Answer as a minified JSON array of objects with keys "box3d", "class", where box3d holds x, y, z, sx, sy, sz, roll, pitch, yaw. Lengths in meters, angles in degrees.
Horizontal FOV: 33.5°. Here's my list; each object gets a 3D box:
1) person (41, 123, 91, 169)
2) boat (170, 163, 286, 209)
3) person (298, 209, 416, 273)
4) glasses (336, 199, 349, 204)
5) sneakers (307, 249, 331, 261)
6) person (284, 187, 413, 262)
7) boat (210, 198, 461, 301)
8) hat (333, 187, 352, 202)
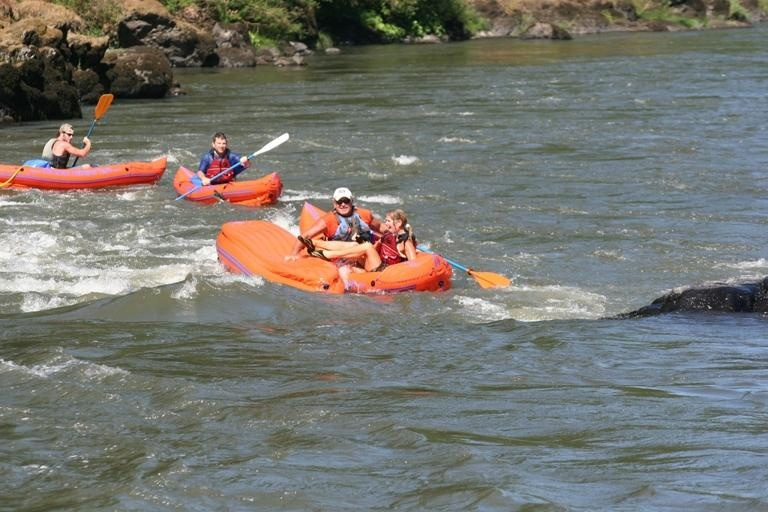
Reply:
[{"box3d":[-6.266,-2.125,25.325,0.946,0.883,0.849,-4,33,-14],"class":"person"},{"box3d":[-2.993,-1.261,24.317,1.900,0.455,0.808,2,5,18],"class":"boat"},{"box3d":[-0.483,-0.276,20.720,1.940,0.705,1.066,-1,12,25],"class":"person"},{"box3d":[-0.678,-0.887,20.635,0.146,0.097,0.036,-5,15,2],"class":"glasses"},{"box3d":[-1.030,-0.016,20.629,0.442,0.106,0.131,12,-1,-1],"class":"sneakers"},{"box3d":[-0.663,-0.507,21.050,2.414,0.687,1.577,12,15,28],"class":"person"},{"box3d":[-1.012,-0.083,20.517,3.545,0.504,1.580,5,11,18],"class":"boat"},{"box3d":[-0.706,-1.010,20.748,0.282,0.142,0.318,-5,0,-2],"class":"hat"}]
